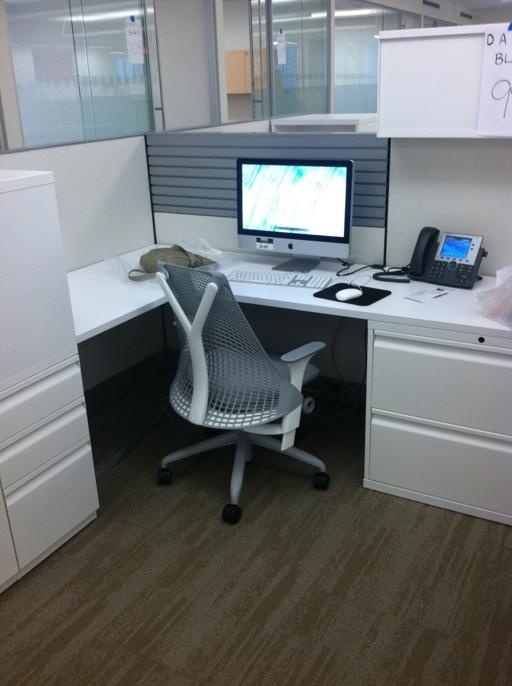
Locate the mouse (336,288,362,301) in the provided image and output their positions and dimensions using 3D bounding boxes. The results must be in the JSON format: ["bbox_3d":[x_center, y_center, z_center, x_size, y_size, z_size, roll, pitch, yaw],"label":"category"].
[{"bbox_3d":[0.302,-0.172,1.668,0.069,0.021,0.045,-19,31,-36],"label":"mouse"}]

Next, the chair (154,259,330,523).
[{"bbox_3d":[-0.057,0.087,1.688,0.523,0.798,0.549,-3,22,-8],"label":"chair"}]

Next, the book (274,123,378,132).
[{"bbox_3d":[0.331,-1.271,2.958,0.584,0.044,0.208,21,33,39],"label":"book"}]

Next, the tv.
[{"bbox_3d":[0.155,-0.511,2.014,0.476,0.432,0.146,9,28,20],"label":"tv"}]

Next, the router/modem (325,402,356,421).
[{"bbox_3d":[0.390,0.321,2.327,0.064,0.019,0.119,6,21,41],"label":"router/modem"}]

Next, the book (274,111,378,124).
[{"bbox_3d":[0.434,-1.406,3.166,0.626,0.050,0.679,11,28,25],"label":"book"}]

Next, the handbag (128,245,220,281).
[{"bbox_3d":[-0.386,-0.346,2.119,0.246,0.059,0.230,-25,40,-32],"label":"handbag"}]
